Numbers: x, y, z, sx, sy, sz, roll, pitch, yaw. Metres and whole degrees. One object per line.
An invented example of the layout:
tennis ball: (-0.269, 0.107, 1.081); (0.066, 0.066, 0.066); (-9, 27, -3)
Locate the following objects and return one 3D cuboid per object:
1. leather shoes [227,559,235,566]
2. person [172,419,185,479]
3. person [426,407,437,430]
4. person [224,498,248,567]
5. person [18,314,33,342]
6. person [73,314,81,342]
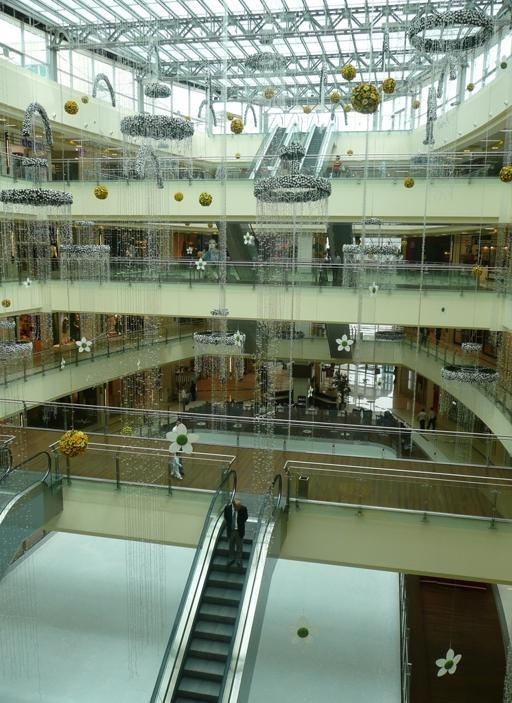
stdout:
leather shoes: (-0.358, 3.028, 7.893); (0.072, 0.086, 0.117); (0, -3, 4)
person: (-1.367, 1.705, 9.677); (0.206, 1.011, 0.786); (-2, 8, -8)
person: (5.071, 2.004, 15.971); (0.250, 0.608, 0.736); (3, 9, 22)
person: (-0.299, 2.621, 7.951); (0.316, 0.924, 0.545); (-1, 8, -3)
person: (-7.698, -0.808, 18.418); (0.412, 0.838, 0.885); (-3, 9, -20)
person: (-6.649, -0.922, 20.267); (0.282, 0.869, 0.888); (-4, 9, -23)
